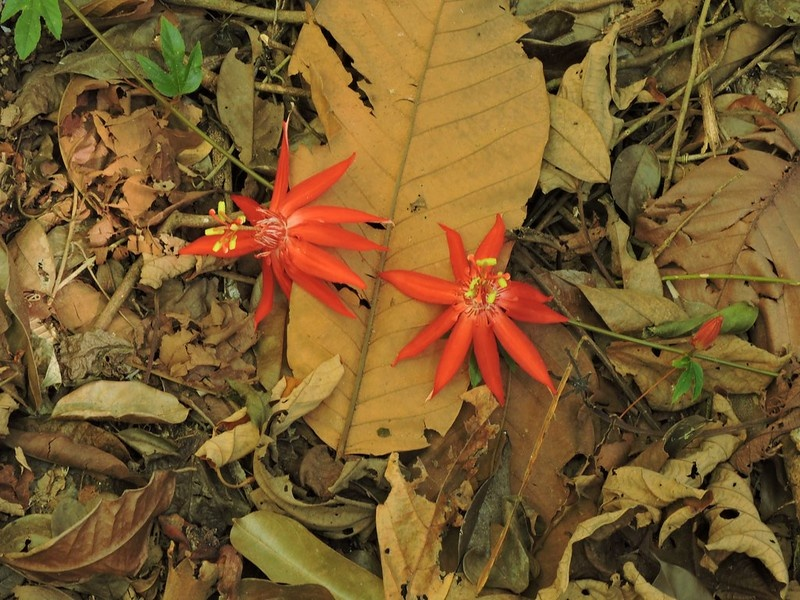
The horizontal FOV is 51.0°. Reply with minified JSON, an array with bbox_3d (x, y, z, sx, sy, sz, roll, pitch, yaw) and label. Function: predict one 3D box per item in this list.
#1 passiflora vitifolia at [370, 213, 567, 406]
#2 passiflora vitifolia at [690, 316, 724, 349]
[{"bbox_3d":[0.280,-0.027,2.877,0.256,0.702,0.731,-46,65,36],"label":"passiflora vitifolia"},{"bbox_3d":[1.075,0.118,2.943,0.069,0.053,0.146,37,113,13],"label":"passiflora vitifolia"}]
